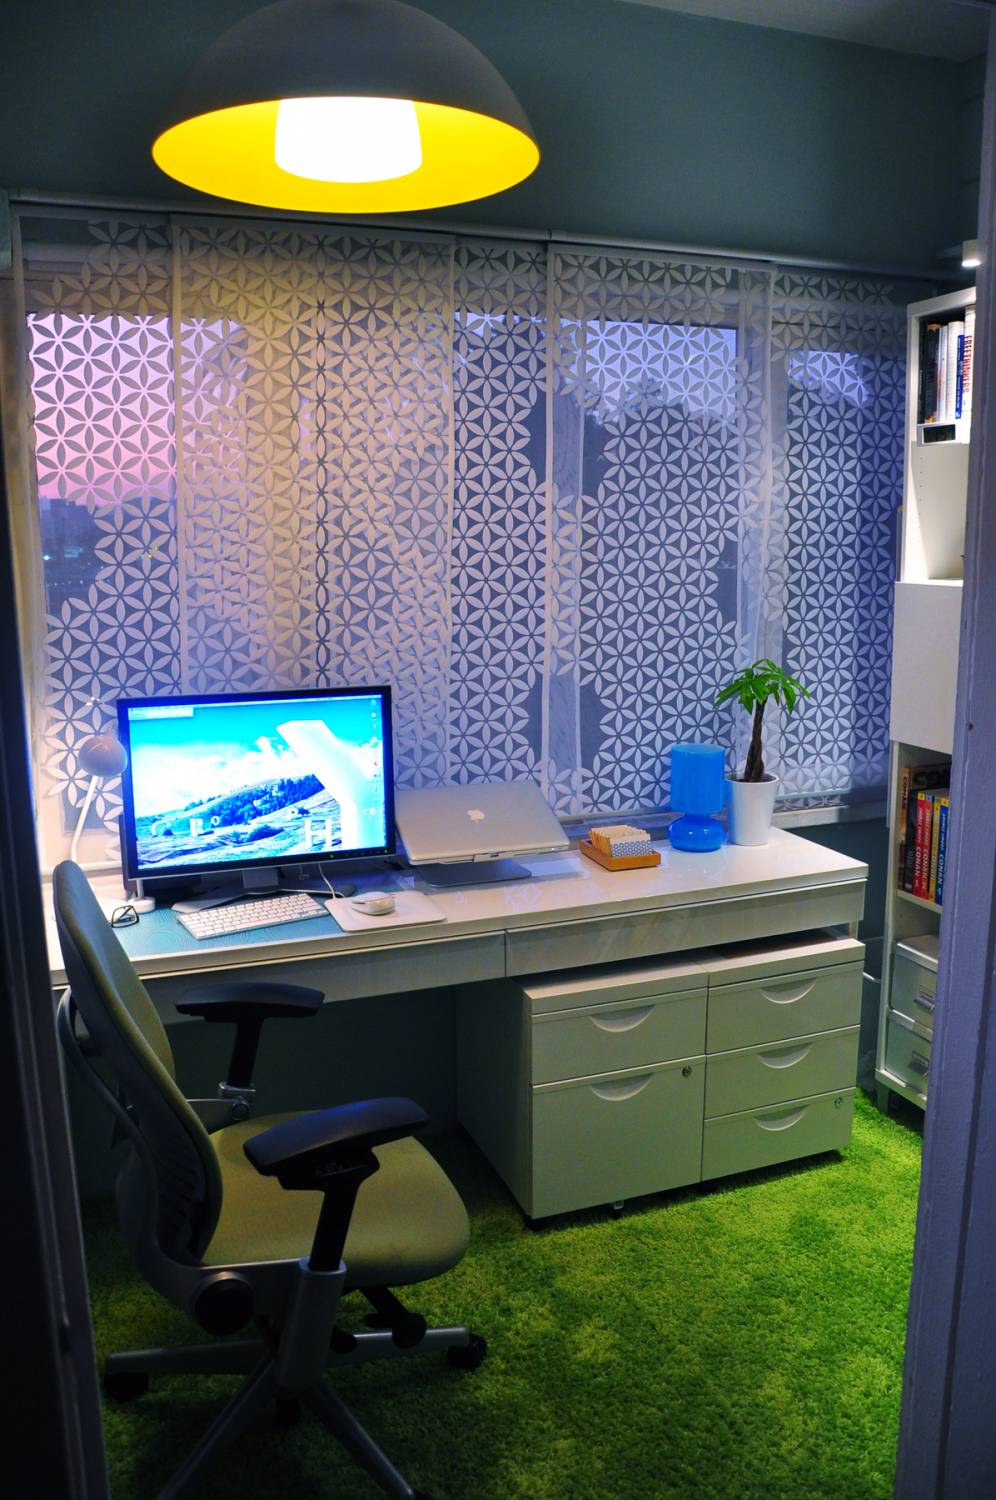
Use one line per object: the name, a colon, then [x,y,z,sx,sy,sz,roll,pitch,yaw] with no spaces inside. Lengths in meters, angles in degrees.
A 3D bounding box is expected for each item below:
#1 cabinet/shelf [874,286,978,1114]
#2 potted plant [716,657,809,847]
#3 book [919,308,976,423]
cabinet/shelf: [1.037,-0.059,2.824,0.160,1.991,0.335,3,8,20]
potted plant: [0.651,0.004,2.858,0.202,0.448,0.429,3,9,14]
book: [1.045,-0.879,2.665,0.047,0.255,0.166,-2,9,-18]
